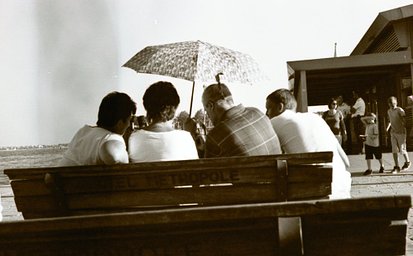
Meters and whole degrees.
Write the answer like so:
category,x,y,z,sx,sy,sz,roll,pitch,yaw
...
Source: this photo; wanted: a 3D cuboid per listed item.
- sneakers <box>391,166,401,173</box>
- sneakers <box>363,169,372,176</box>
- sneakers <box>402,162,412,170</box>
category,x,y,z,sx,sy,sz,roll,pitch,yaw
sneakers,6.366,1.409,18.242,0.427,0.183,0.142,4,-6,-34
sneakers,5.383,1.485,18.123,0.307,0.153,0.135,-3,0,2
sneakers,6.861,1.286,18.678,0.177,0.201,0.504,5,29,44
